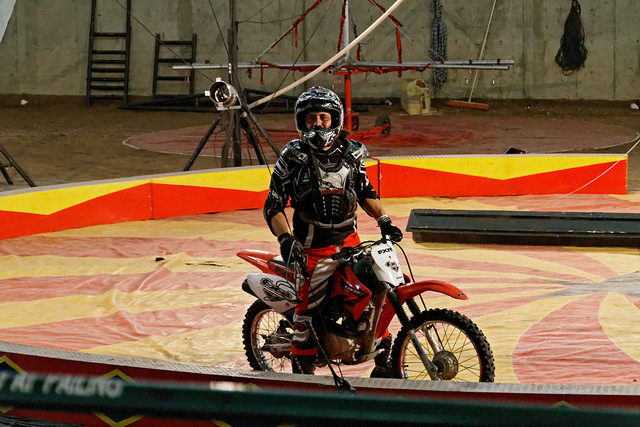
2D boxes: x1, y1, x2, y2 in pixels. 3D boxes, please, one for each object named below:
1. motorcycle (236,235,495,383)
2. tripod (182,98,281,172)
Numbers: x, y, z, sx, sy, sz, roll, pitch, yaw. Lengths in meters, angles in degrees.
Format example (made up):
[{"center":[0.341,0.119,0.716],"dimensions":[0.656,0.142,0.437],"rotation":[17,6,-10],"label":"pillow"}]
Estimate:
[{"center":[0.292,0.907,7.478],"dimensions":[0.957,1.283,3.029],"rotation":[0,0,-41],"label":"motorcycle"},{"center":[-1.421,-1.199,13.034],"dimensions":[1.203,1.037,1.528],"rotation":[15,-26,16],"label":"tripod"}]
